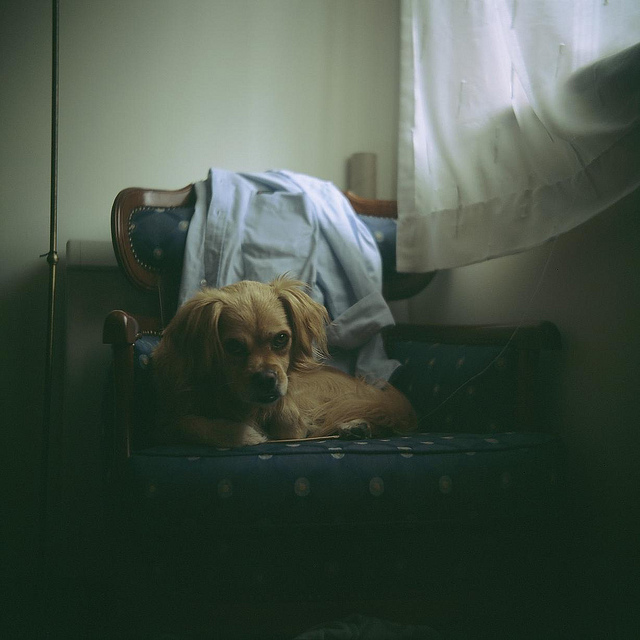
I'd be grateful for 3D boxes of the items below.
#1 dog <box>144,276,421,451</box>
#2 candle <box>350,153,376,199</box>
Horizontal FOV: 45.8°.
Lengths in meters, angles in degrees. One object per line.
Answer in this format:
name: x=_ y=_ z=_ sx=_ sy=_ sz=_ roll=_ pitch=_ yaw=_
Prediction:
dog: x=-0.051 y=0.045 z=0.670 sx=0.132 sy=0.107 sz=0.202 roll=-1 pitch=-9 yaw=18
candle: x=0.038 y=-0.130 z=0.687 sx=0.026 sy=0.049 sz=0.027 roll=-7 pitch=18 yaw=-15
